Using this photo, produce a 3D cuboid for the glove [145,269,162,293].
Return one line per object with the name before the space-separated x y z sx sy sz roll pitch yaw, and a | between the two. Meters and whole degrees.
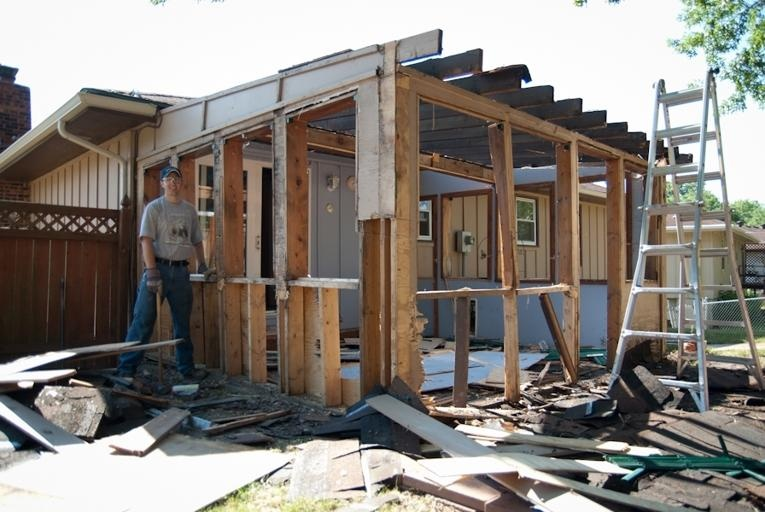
glove | -3.013 0.324 8.223 0.222 0.293 0.117 -4 2 -28
